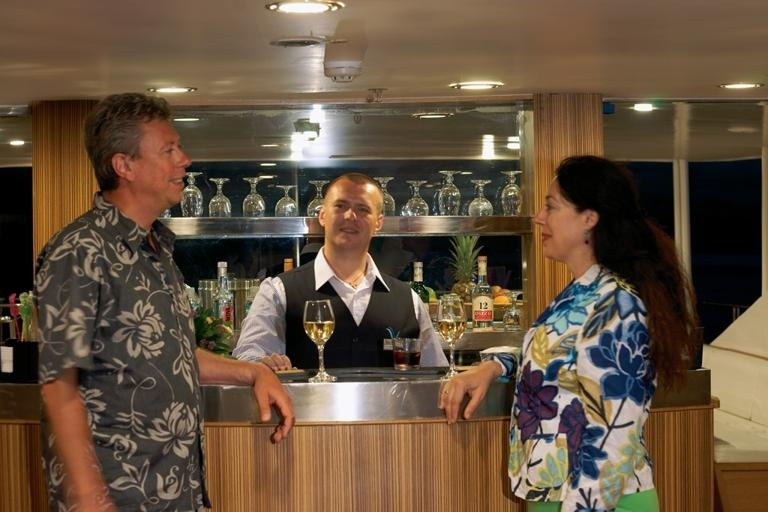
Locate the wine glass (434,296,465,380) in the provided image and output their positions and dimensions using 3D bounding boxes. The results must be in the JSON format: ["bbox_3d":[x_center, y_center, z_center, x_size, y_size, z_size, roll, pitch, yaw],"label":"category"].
[{"bbox_3d":[0.260,0.318,3.222,0.118,0.327,0.116,0,7,-5],"label":"wine glass"}]

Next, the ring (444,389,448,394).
[{"bbox_3d":[0.241,0.520,3.125,0.016,0.010,0.025,1,-7,1],"label":"ring"}]

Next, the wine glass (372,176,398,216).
[{"bbox_3d":[0.005,-0.394,5.313,0.143,0.276,0.375,-2,1,0],"label":"wine glass"}]

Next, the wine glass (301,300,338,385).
[{"bbox_3d":[-0.259,0.334,3.243,0.113,0.315,0.200,-2,1,-5],"label":"wine glass"}]

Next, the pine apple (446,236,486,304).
[{"bbox_3d":[0.573,0.106,5.614,0.237,0.517,0.225,-5,-3,19],"label":"pine apple"}]

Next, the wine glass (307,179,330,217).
[{"bbox_3d":[-0.430,-0.377,5.255,0.138,0.268,0.452,-2,1,-4],"label":"wine glass"}]

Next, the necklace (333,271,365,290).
[{"bbox_3d":[-0.152,0.122,3.933,0.086,0.106,0.027,-14,4,-18],"label":"necklace"}]

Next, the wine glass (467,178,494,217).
[{"bbox_3d":[0.616,-0.351,5.148,0.184,0.244,0.179,-8,12,-39],"label":"wine glass"}]

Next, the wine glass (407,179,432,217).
[{"bbox_3d":[0.206,-0.367,5.241,0.235,0.231,0.224,-4,9,-15],"label":"wine glass"}]
